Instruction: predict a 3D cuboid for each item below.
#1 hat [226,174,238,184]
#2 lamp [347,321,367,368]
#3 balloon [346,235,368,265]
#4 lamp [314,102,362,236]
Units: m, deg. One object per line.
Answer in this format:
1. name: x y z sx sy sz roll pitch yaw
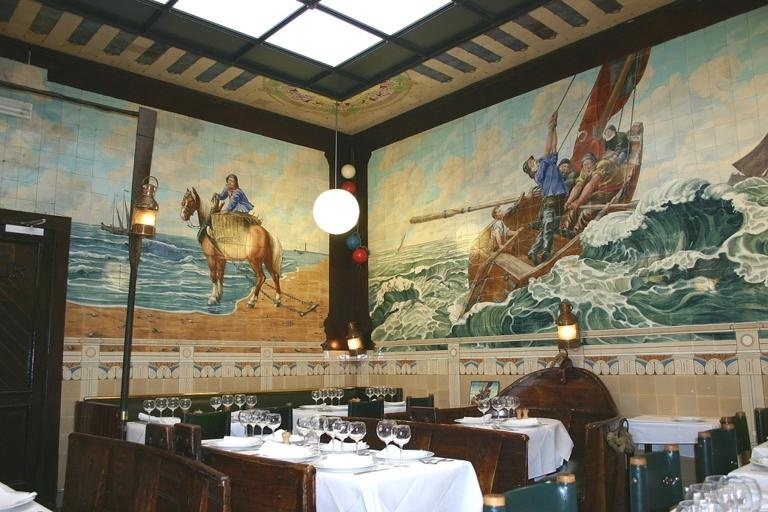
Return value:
1. hat: -2.502 -1.288 10.541 0.171 0.138 0.121 1 4 -8
2. lamp: -0.497 1.538 11.315 0.324 0.771 0.713 -1 -14 0
3. balloon: -0.455 -0.112 11.681 0.354 0.527 0.243 -18 -16 19
4. lamp: -0.803 -1.365 10.911 0.752 2.432 2.130 0 -14 -4
